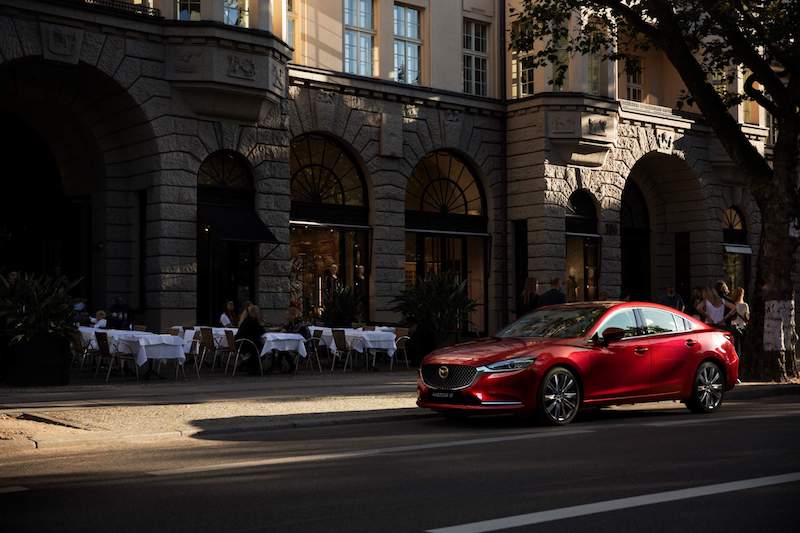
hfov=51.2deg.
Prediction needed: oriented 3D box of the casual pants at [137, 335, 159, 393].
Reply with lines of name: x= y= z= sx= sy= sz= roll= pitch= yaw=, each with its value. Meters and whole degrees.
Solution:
casual pants: x=-4.806 y=1.859 z=16.124 sx=0.382 sy=1.288 sz=0.408 roll=-5 pitch=-10 yaw=-1

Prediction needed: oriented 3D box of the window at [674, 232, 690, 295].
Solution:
window: x=12.733 y=0.130 z=37.655 sx=0.609 sy=3.482 sz=0.284 roll=-3 pitch=20 yaw=14

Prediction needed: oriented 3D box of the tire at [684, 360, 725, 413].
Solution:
tire: x=5.822 y=2.284 z=16.069 sx=0.721 sy=0.817 sz=0.263 roll=-18 pitch=1 yaw=-31

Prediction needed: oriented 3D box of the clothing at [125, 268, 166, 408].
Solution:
clothing: x=-4.834 y=1.375 z=16.071 sx=0.645 sy=2.643 sz=0.906 roll=4 pitch=-7 yaw=-32

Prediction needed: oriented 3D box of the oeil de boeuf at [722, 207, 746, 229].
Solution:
oeil de boeuf: x=15.089 y=-2.230 z=37.950 sx=0.902 sy=1.173 sz=0.065 roll=2 pitch=-4 yaw=-35

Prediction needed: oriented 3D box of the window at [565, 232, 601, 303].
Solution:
window: x=7.184 y=0.199 z=33.032 sx=1.509 sy=3.275 sz=0.222 roll=-2 pitch=25 yaw=9

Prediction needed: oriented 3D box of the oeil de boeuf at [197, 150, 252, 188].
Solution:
oeil de boeuf: x=-5.464 y=-3.011 z=25.661 sx=1.054 sy=0.825 sz=0.067 roll=2 pitch=0 yaw=-37

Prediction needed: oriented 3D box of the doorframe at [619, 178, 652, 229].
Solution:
doorframe: x=10.447 y=-2.627 z=37.842 sx=0.076 sy=2.148 sz=1.635 roll=-25 pitch=25 yaw=-35

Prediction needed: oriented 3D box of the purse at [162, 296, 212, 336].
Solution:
purse: x=-4.118 y=0.959 z=16.203 sx=0.748 sy=0.883 sz=0.655 roll=-3 pitch=1 yaw=-6

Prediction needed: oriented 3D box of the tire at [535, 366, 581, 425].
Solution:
tire: x=2.750 y=2.230 z=14.643 sx=0.851 sy=1.000 sz=0.340 roll=-1 pitch=3 yaw=-15

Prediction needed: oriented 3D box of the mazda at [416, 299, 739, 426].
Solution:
mazda: x=3.756 y=1.917 z=16.790 sx=6.987 sy=2.597 sz=3.159 roll=4 pitch=-8 yaw=-35

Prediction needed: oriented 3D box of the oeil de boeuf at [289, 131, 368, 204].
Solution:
oeil de boeuf: x=-2.541 y=-3.411 z=28.398 sx=2.242 sy=1.746 sz=0.118 roll=7 pitch=-3 yaw=-39

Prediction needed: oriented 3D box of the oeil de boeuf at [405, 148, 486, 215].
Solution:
oeil de boeuf: x=1.571 y=-3.219 z=31.161 sx=2.241 sy=1.759 sz=0.084 roll=1 pitch=0 yaw=-31

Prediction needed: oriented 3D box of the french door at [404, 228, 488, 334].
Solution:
french door: x=1.458 y=0.433 z=28.116 sx=3.390 sy=4.637 sz=0.172 roll=0 pitch=2 yaw=-19

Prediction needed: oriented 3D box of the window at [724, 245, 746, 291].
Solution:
window: x=14.768 y=0.039 z=37.034 sx=1.742 sy=1.974 sz=0.562 roll=3 pitch=-5 yaw=-43

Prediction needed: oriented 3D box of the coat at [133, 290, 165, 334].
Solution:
coat: x=-4.825 y=0.845 z=16.029 sx=0.575 sy=0.728 sz=0.438 roll=7 pitch=4 yaw=7

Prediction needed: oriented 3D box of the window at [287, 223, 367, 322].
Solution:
window: x=-2.404 y=0.316 z=28.505 sx=2.810 sy=3.454 sz=0.110 roll=5 pitch=16 yaw=9
